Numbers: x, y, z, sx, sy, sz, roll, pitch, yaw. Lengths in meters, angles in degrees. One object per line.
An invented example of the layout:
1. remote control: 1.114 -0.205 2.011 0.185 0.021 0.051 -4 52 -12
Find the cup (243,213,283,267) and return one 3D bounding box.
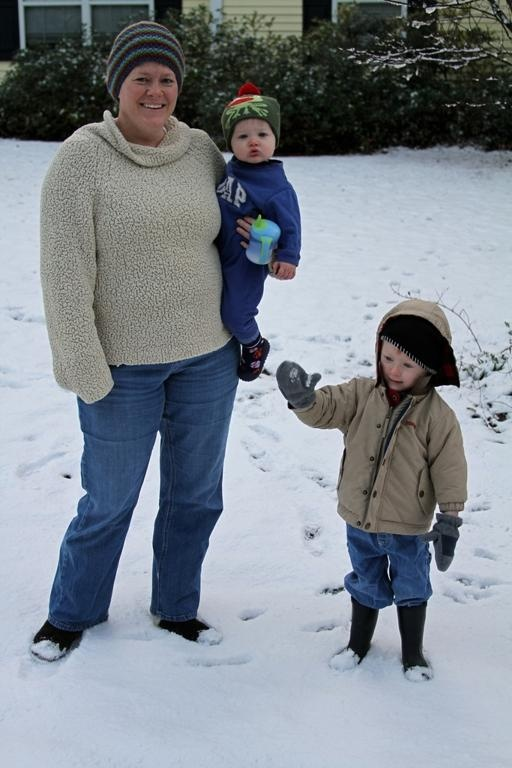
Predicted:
1. cup: 0.020 -0.445 2.309 0.109 0.152 0.156 11 44 -5

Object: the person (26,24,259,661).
1. person: -0.371 -0.067 2.357 0.696 2.040 0.344 -11 21 -40

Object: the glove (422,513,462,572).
1. glove: 0.547 0.474 2.229 0.145 0.183 0.100 7 -15 12

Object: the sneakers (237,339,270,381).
1. sneakers: 0.005 -0.083 2.585 0.082 0.168 0.081 14 9 -12

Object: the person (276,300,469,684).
1. person: 0.429 0.338 2.461 0.623 1.228 0.433 12 18 30

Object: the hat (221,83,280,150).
1. hat: -0.014 -0.989 2.635 0.221 0.208 0.277 -5 9 -2

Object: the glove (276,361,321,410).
1. glove: 0.136 0.008 2.369 0.131 0.170 0.101 3 15 4

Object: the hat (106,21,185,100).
1. hat: -0.326 -0.970 2.240 0.214 0.188 0.256 3 13 -6

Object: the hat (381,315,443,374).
1. hat: 0.512 -0.149 2.413 0.208 0.151 0.158 29 62 27
